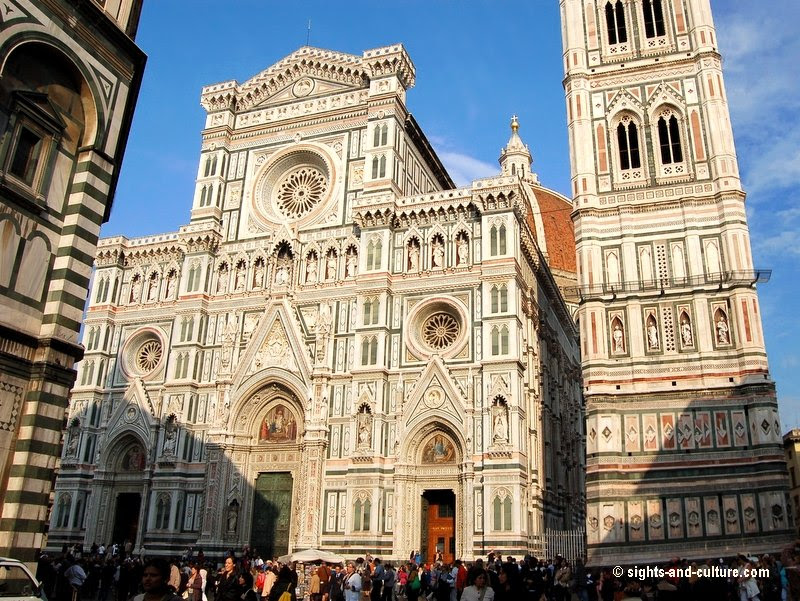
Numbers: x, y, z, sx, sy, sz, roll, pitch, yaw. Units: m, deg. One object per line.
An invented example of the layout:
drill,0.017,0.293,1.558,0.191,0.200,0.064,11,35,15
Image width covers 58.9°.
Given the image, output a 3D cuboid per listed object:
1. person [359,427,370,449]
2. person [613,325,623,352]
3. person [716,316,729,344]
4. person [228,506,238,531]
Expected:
person,-1.636,6.290,31.990,0.608,0.912,0.166,-10,-24,22
person,9.229,1.625,30.013,0.432,1.112,0.120,-4,-23,9
person,13.145,1.214,28.955,0.511,1.222,0.131,-10,-24,23
person,-7.894,10.375,33.559,0.526,1.169,0.163,-12,-25,27
